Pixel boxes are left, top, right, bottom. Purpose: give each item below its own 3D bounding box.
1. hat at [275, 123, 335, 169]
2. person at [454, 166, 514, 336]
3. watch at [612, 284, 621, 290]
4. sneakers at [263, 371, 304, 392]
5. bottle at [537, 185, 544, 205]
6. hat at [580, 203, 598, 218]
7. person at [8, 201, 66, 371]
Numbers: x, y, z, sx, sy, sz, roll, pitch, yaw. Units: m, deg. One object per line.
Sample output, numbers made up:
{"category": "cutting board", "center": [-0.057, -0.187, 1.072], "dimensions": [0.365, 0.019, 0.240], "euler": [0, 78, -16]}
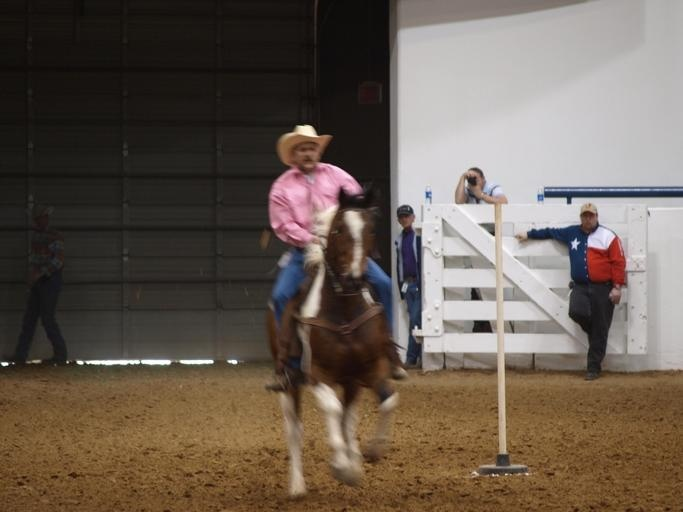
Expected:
{"category": "hat", "center": [-0.463, -1.472, 14.478], "dimensions": [0.708, 0.363, 0.877], "euler": [-4, 29, 20]}
{"category": "person", "center": [2.464, -0.123, 19.643], "dimensions": [0.864, 2.804, 1.315], "euler": [0, 11, 7]}
{"category": "watch", "center": [4.540, 0.515, 18.350], "dimensions": [0.079, 0.089, 0.025], "euler": [-1, 6, 1]}
{"category": "sneakers", "center": [-0.716, 1.543, 14.187], "dimensions": [0.414, 0.197, 0.262], "euler": [-23, -2, 12]}
{"category": "bottle", "center": [3.445, -1.064, 19.184], "dimensions": [0.101, 0.288, 0.446], "euler": [0, 12, 9]}
{"category": "hat", "center": [4.114, -0.761, 18.457], "dimensions": [0.263, 0.214, 0.179], "euler": [-1, 11, 3]}
{"category": "person", "center": [-5.995, 0.699, 22.436], "dimensions": [0.984, 3.056, 1.166], "euler": [4, 12, 26]}
